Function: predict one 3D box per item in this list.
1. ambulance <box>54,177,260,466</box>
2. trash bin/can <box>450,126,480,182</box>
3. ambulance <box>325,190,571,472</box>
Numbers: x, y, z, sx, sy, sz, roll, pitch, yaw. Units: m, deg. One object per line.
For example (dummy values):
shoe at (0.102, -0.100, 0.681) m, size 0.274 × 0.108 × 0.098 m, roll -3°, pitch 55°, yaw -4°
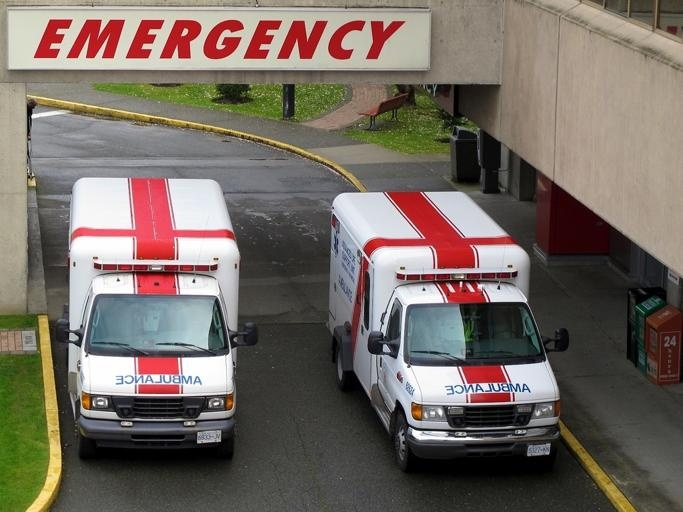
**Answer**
ambulance at (-3.086, 0.750, 17.695) m, size 2.849 × 2.848 × 5.450 m, roll 0°, pitch 18°, yaw -15°
trash bin/can at (3.424, -2.721, 30.520) m, size 0.834 × 1.585 × 0.940 m, roll -5°, pitch 23°, yaw -2°
ambulance at (1.547, 0.953, 17.757) m, size 2.740 × 2.930 × 5.535 m, roll -2°, pitch 16°, yaw -12°
